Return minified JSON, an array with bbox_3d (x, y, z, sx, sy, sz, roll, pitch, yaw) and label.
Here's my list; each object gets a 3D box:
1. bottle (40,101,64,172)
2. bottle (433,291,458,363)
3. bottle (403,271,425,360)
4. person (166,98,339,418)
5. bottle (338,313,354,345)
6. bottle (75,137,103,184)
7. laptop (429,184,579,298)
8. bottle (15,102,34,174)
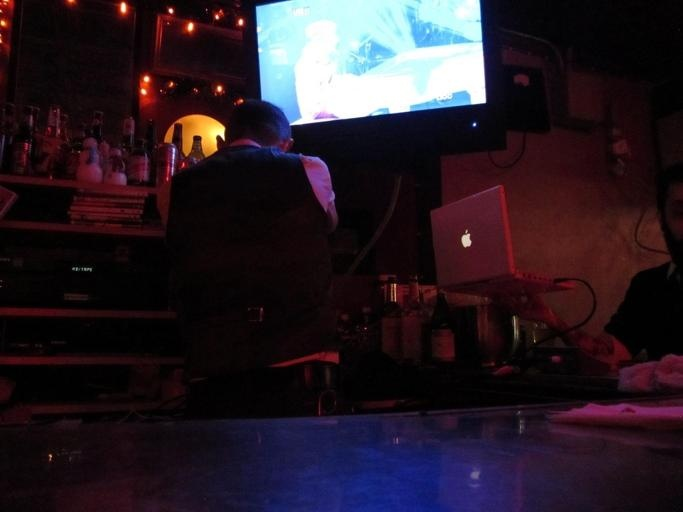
[{"bbox_3d":[-1.394,-0.558,2.813,0.088,0.418,0.332,3,-6,-26],"label":"bottle"},{"bbox_3d":[0.380,0.261,2.201,0.093,0.250,0.253,-1,-5,9],"label":"bottle"},{"bbox_3d":[0.286,0.247,2.364,0.088,0.336,0.268,0,-5,6],"label":"bottle"},{"bbox_3d":[-0.323,-0.059,2.035,0.618,1.148,0.461,1,-6,-4],"label":"person"},{"bbox_3d":[0.017,0.336,2.655,0.093,0.158,0.095,0,-20,0],"label":"bottle"},{"bbox_3d":[-1.136,-0.414,2.637,0.101,0.250,0.102,-3,-7,0],"label":"bottle"},{"bbox_3d":[0.616,-0.032,2.341,0.442,0.308,0.465,-9,-18,44],"label":"laptop"},{"bbox_3d":[-1.425,-0.512,2.614,0.078,0.335,0.202,3,-6,-28],"label":"bottle"}]
